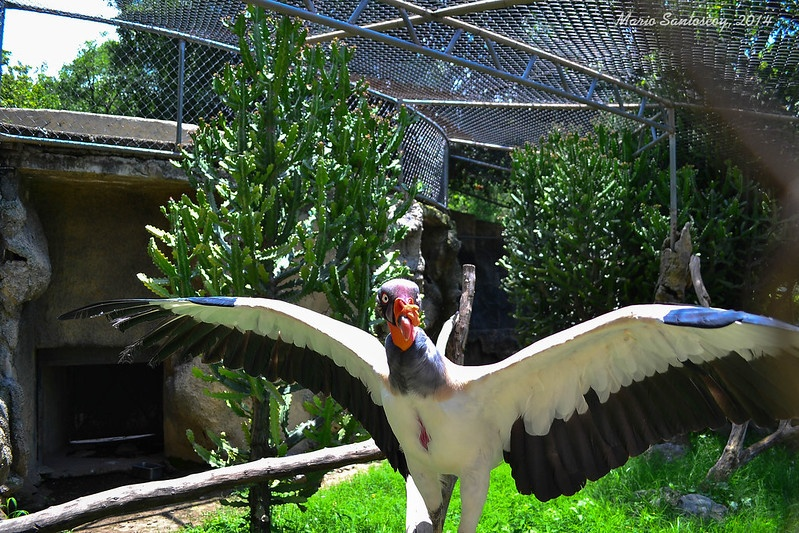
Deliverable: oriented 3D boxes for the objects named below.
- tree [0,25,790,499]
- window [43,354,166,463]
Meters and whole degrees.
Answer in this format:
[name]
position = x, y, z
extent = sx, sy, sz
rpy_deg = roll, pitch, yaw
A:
[tree]
position = 0.184, 1.699, 10.649
extent = 5.458, 5.343, 7.897
rpy_deg = 5, -9, 1
[window]
position = -5.267, 2.500, 14.265
extent = 2.007, 2.094, 1.089
rpy_deg = 5, -6, -38
